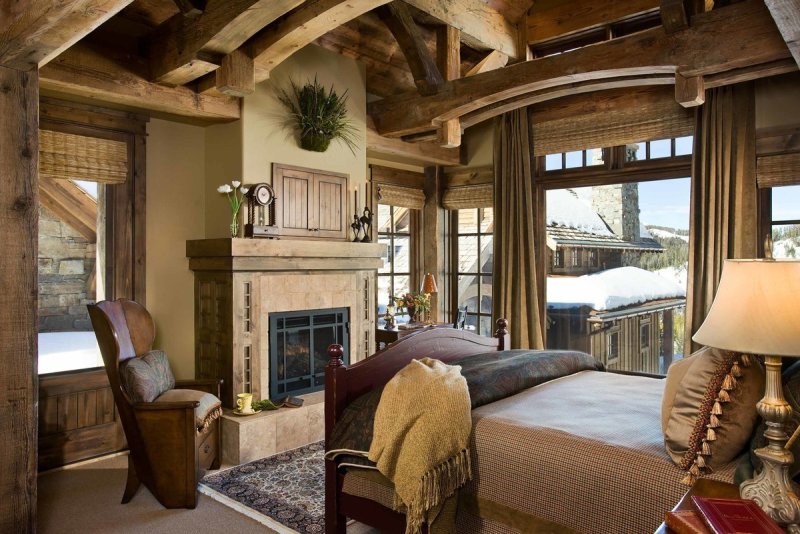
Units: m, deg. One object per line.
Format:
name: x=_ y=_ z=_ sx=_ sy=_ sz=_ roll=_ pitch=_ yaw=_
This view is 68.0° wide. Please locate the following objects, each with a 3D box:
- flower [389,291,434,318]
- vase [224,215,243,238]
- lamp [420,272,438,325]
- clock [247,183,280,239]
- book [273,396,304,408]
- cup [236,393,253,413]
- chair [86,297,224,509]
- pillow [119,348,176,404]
flower: x=0.138 y=0.431 z=6.961 sx=0.368 sy=0.251 sz=0.372 roll=0 pitch=-5 yaw=9
vase: x=-1.575 y=-0.396 z=5.637 sx=0.096 sy=0.224 sz=0.219 roll=-2 pitch=2 yaw=-20
lamp: x=0.350 y=0.364 z=7.078 sx=0.180 sy=0.524 sz=0.176 roll=1 pitch=-4 yaw=-5
clock: x=-1.313 y=-0.533 z=5.652 sx=0.325 sy=0.518 sz=0.207 roll=-2 pitch=2 yaw=-27
book: x=-1.075 y=1.291 z=5.716 sx=0.307 sy=0.076 sz=0.214 roll=-1 pitch=1 yaw=-10
cup: x=-1.428 y=1.244 z=5.444 sx=0.146 sy=0.176 sz=0.174 roll=-1 pitch=1 yaw=-16
chair: x=-2.005 y=1.074 z=4.986 sx=1.085 sy=1.480 sz=0.996 roll=4 pitch=3 yaw=18
pillow: x=-2.057 y=0.900 z=4.867 sx=0.208 sy=0.381 sz=0.585 roll=-5 pitch=3 yaw=5
